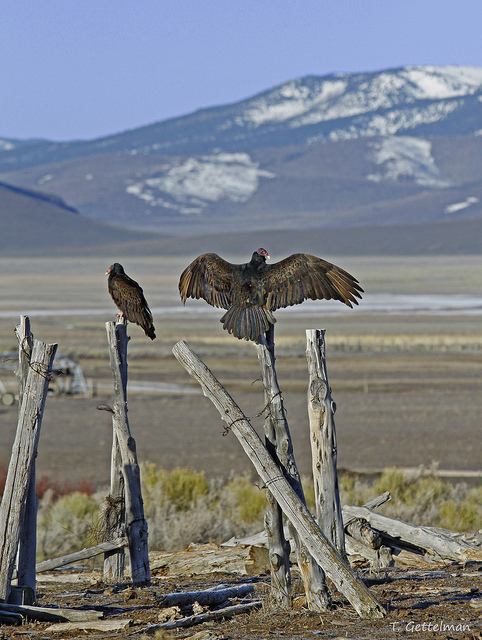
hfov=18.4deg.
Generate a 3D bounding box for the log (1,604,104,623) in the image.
[{"bbox_3d":[-2.247,3.468,17.446,0.831,0.215,0.113,5,-10,1],"label":"log"}]

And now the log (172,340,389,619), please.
[{"bbox_3d":[0.462,1.851,17.231,2.234,3.291,0.275,-5,0,15],"label":"log"}]

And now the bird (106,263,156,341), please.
[{"bbox_3d":[-1.672,-0.209,21.918,0.737,1.176,0.475,4,-16,2],"label":"bird"}]

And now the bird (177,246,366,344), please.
[{"bbox_3d":[0.270,-0.383,18.292,1.670,1.358,0.729,-2,-2,25],"label":"bird"}]
